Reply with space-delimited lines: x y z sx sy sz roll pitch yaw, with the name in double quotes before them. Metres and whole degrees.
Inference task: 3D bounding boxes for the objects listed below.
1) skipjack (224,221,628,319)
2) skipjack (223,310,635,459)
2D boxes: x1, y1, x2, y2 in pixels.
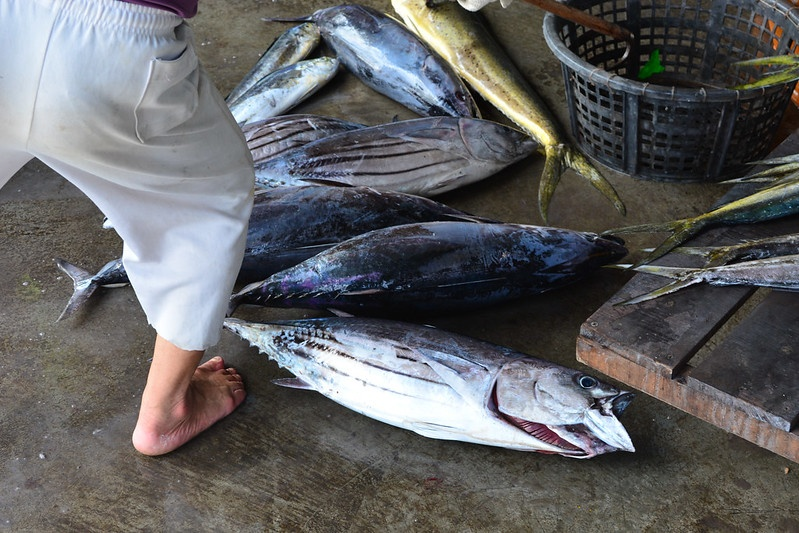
"skipjack" 0.205 0.016 3.641 1.628 0.375 0.383 -2 6 -19
"skipjack" 0.108 0.452 3.268 1.671 0.206 0.397 7 37 14
